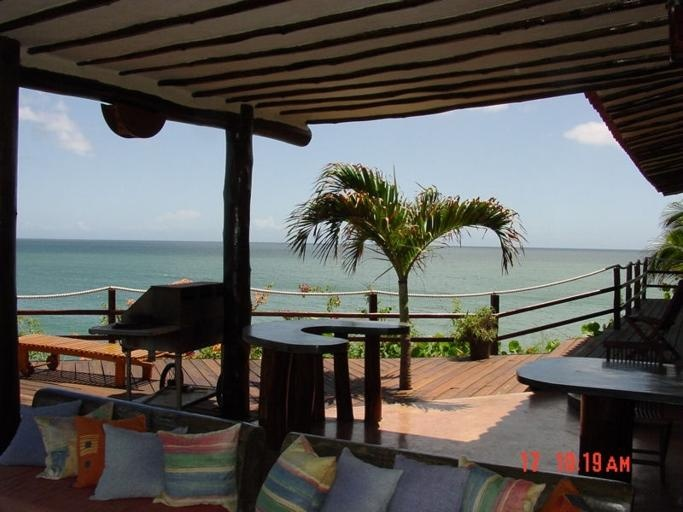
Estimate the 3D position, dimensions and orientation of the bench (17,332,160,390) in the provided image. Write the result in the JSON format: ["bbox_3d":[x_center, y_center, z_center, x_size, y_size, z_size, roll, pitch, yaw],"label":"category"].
[{"bbox_3d":[-3.089,1.275,5.898,1.876,0.621,0.699,3,-1,14],"label":"bench"}]

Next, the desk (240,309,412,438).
[{"bbox_3d":[-0.069,1.122,4.496,1.417,0.848,1.368,-1,-4,-32],"label":"desk"}]

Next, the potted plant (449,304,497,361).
[{"bbox_3d":[2.096,1.197,7.690,0.759,0.810,0.859,-1,0,40],"label":"potted plant"}]
